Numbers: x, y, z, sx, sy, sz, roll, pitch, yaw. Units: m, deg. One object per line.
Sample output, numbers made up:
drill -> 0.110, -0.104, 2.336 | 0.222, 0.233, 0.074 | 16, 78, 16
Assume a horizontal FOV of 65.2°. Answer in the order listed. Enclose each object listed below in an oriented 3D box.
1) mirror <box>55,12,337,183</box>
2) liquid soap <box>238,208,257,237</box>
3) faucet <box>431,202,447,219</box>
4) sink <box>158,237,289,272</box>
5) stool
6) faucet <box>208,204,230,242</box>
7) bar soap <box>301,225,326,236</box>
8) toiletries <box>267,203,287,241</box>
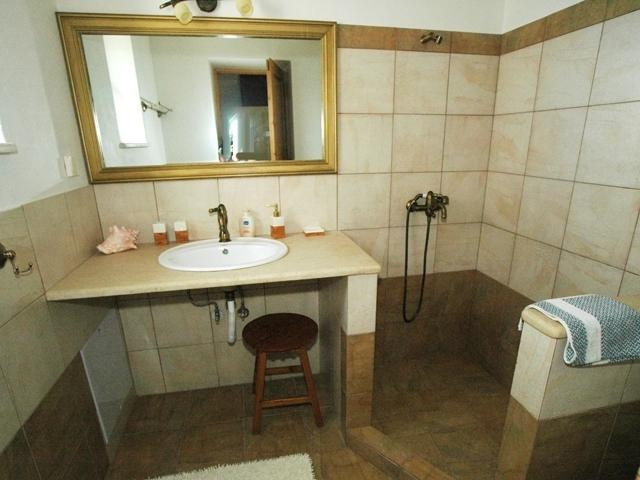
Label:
mirror -> -0.662, -0.806, 2.826 | 1.418, 0.902, 0.175 | -4, 20, -5
liquid soap -> -0.439, -0.100, 2.987 | 0.087, 0.159, 0.055 | 0, 20, 6
faucet -> 0.778, -0.191, 3.231 | 0.082, 0.130, 0.131 | 5, 21, 19
sink -> -0.523, 0.119, 2.791 | 0.707, 0.129, 0.465 | -4, 20, -6
stool -> -0.197, 0.726, 3.147 | 0.603, 0.741, 0.605 | -3, 13, -9
faucet -> -0.570, -0.107, 2.928 | 0.088, 0.221, 0.184 | -1, 20, 2
bar soap -> -0.033, -0.059, 3.079 | 0.138, 0.041, 0.112 | -3, 20, -2
toiletries -> -0.255, -0.116, 3.014 | 0.097, 0.191, 0.145 | -4, 20, -5
